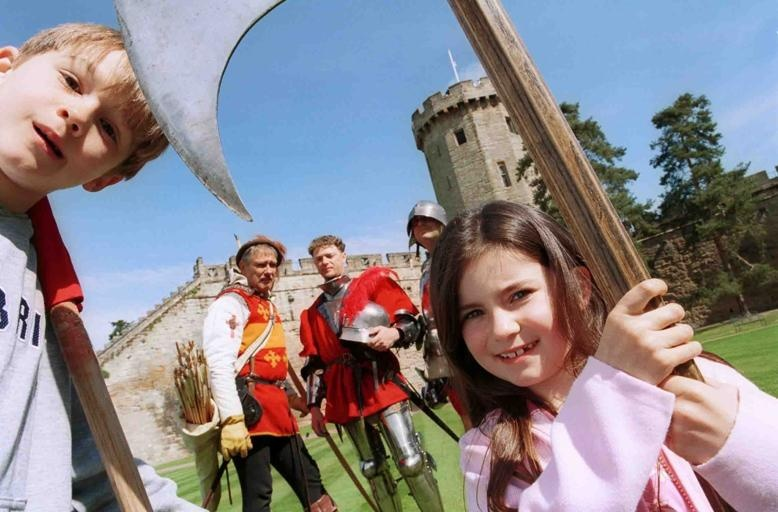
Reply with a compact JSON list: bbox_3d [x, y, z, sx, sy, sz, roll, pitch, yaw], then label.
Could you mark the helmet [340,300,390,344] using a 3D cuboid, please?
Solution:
[{"bbox_3d":[-0.178,0.470,3.505,0.435,0.283,0.276,-14,29,-27],"label":"helmet"}]
